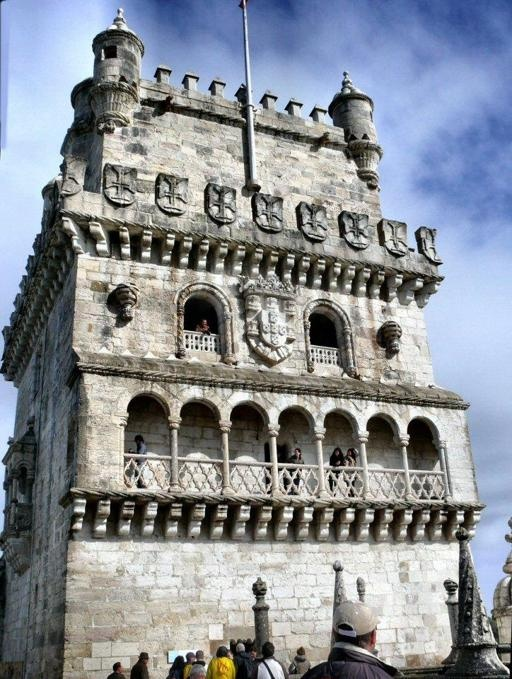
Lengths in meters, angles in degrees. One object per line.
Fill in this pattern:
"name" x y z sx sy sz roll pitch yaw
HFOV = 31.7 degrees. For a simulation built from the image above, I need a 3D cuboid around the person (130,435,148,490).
"person" -2.723 2.867 21.159 0.379 1.131 0.329 -8 -14 9
